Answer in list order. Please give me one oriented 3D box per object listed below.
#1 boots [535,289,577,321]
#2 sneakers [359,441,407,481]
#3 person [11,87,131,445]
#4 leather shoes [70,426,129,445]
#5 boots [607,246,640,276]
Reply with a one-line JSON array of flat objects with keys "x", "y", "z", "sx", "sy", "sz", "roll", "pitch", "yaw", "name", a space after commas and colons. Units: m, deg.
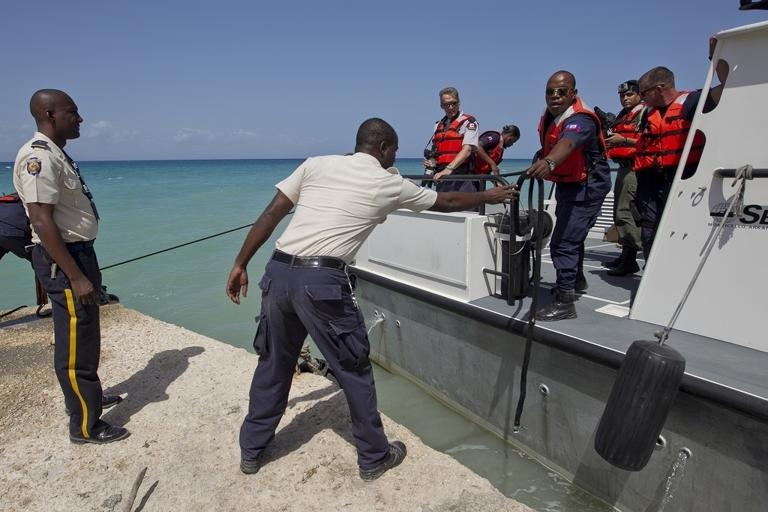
[{"x": 1.431, "y": 0.424, "z": 4.213, "sx": 0.473, "sy": 0.280, "sz": 0.183, "roll": 0, "pitch": 3, "yaw": -10, "name": "boots"}, {"x": 0.028, "y": 1.434, "z": 3.517, "sx": 0.381, "sy": 0.152, "sz": 0.163, "roll": -32, "pitch": 37, "yaw": -32, "name": "sneakers"}, {"x": -2.274, "y": 0.132, "z": 3.609, "sx": 0.463, "sy": 2.557, "sz": 0.772, "roll": -9, "pitch": 23, "yaw": -28, "name": "person"}, {"x": -2.141, "y": 1.361, "z": 3.759, "sx": 0.355, "sy": 0.136, "sz": 0.167, "roll": -3, "pitch": 5, "yaw": -13, "name": "leather shoes"}, {"x": 2.676, "y": 0.067, "z": 5.566, "sx": 0.358, "sy": 0.361, "sz": 0.407, "roll": 6, "pitch": 14, "yaw": 19, "name": "boots"}]
